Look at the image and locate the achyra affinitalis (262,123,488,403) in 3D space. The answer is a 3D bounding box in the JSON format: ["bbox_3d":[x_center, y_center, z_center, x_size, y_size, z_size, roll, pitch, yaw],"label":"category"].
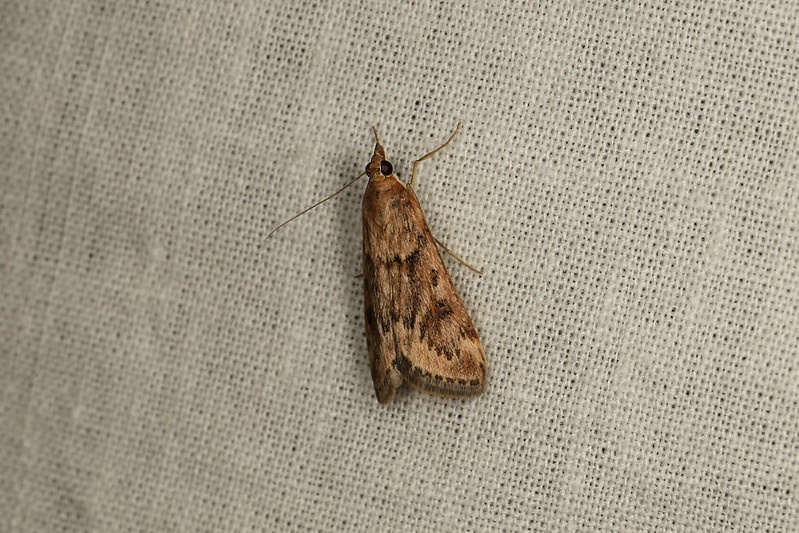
[{"bbox_3d":[0.014,-0.003,2.281,0.351,0.158,0.586,-9,90,10],"label":"achyra affinitalis"}]
